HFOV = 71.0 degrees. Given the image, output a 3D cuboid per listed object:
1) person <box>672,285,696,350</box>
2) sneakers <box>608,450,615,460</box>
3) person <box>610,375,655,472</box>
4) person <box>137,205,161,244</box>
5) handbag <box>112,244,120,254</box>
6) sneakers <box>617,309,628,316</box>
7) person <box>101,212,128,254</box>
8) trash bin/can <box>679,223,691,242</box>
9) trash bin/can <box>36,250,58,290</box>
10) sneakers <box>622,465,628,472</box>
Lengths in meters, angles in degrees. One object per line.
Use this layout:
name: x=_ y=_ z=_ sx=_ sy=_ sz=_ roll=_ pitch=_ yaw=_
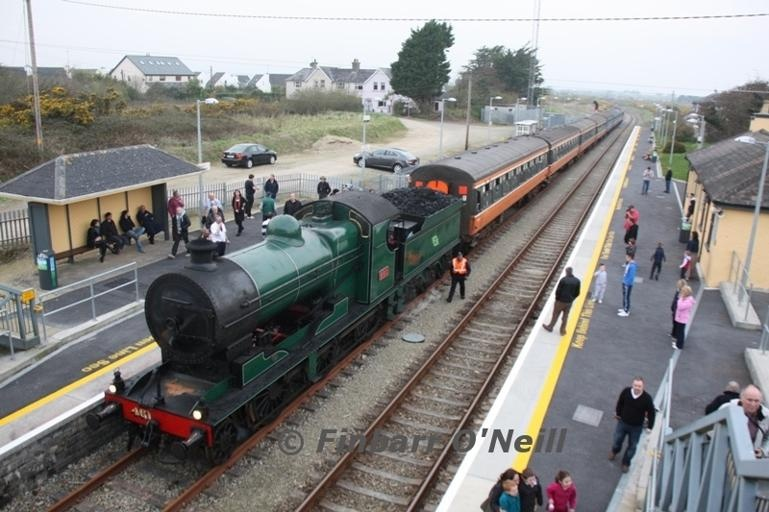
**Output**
person: x=8.844 y=1.809 z=16.023 sx=0.412 sy=1.993 sz=0.549 roll=8 pitch=19 yaw=28
sneakers: x=5.139 y=4.497 z=12.172 sx=0.096 sy=0.110 sz=0.264 roll=1 pitch=13 yaw=29
person: x=5.481 y=3.640 z=11.898 sx=0.817 sy=2.042 sz=0.878 roll=4 pitch=17 yaw=15
person: x=-9.323 y=-1.254 z=21.418 sx=0.776 sy=1.431 sz=0.680 roll=6 pitch=28 yaw=24
handbag: x=-10.004 y=-0.259 z=20.179 sx=0.142 sy=0.452 sz=0.190 roll=-8 pitch=30 yaw=-23
sneakers: x=7.996 y=1.917 z=18.036 sx=0.245 sy=0.098 sz=0.287 roll=2 pitch=16 yaw=2
person: x=-10.052 y=-0.877 z=20.092 sx=0.832 sy=1.607 sz=0.724 roll=11 pitch=37 yaw=9
trash bin/can: x=13.961 y=-1.059 z=25.014 sx=0.404 sy=0.986 sz=0.411 roll=9 pitch=19 yaw=28
trash bin/can: x=-10.654 y=0.455 z=17.126 sx=0.669 sy=1.308 sz=0.443 roll=15 pitch=23 yaw=42
sneakers: x=5.311 y=4.674 z=11.849 sx=0.159 sy=0.163 sz=0.078 roll=-2 pitch=17 yaw=-3
